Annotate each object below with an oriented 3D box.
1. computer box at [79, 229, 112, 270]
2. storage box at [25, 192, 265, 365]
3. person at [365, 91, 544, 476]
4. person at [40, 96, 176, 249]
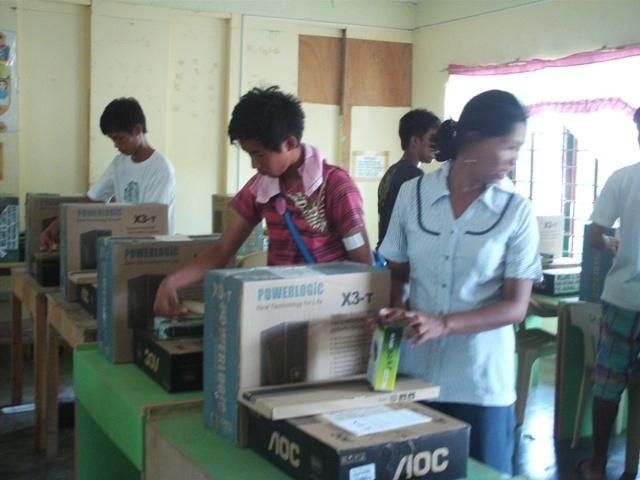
[{"bbox_3d":[-1.180,0.060,3.204,0.137,0.192,0.131,-5,15,-42],"label":"computer box"},{"bbox_3d":[-0.817,0.035,2.726,0.727,0.487,0.758,-6,10,-38],"label":"storage box"},{"bbox_3d":[0.453,0.160,2.106,0.564,1.347,0.447,-2,6,-14],"label":"person"},{"bbox_3d":[-1.225,-0.351,3.589,0.663,0.937,0.699,0,9,3],"label":"person"}]
